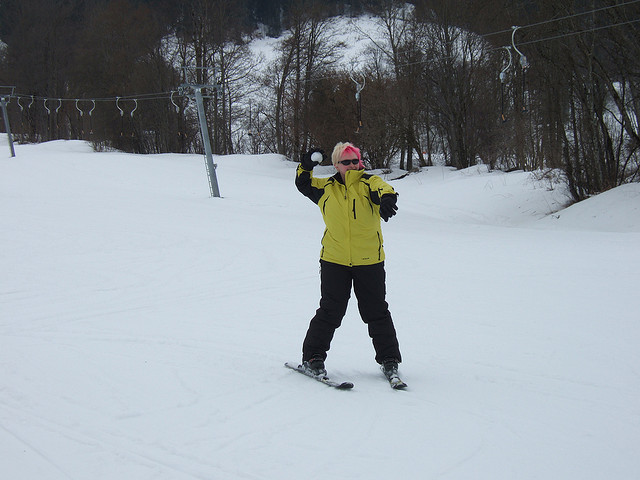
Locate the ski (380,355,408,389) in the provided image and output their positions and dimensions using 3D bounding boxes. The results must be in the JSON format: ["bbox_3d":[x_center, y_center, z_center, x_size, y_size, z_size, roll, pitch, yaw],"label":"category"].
[{"bbox_3d":[0.714,1.268,5.487,0.135,0.199,0.421,-2,16,-15],"label":"ski"}]

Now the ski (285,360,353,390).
[{"bbox_3d":[-0.023,1.346,5.587,0.104,0.082,0.935,-10,14,-34],"label":"ski"}]

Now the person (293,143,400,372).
[{"bbox_3d":[0.267,0.226,5.450,1.106,2.225,0.666,6,14,13],"label":"person"}]
